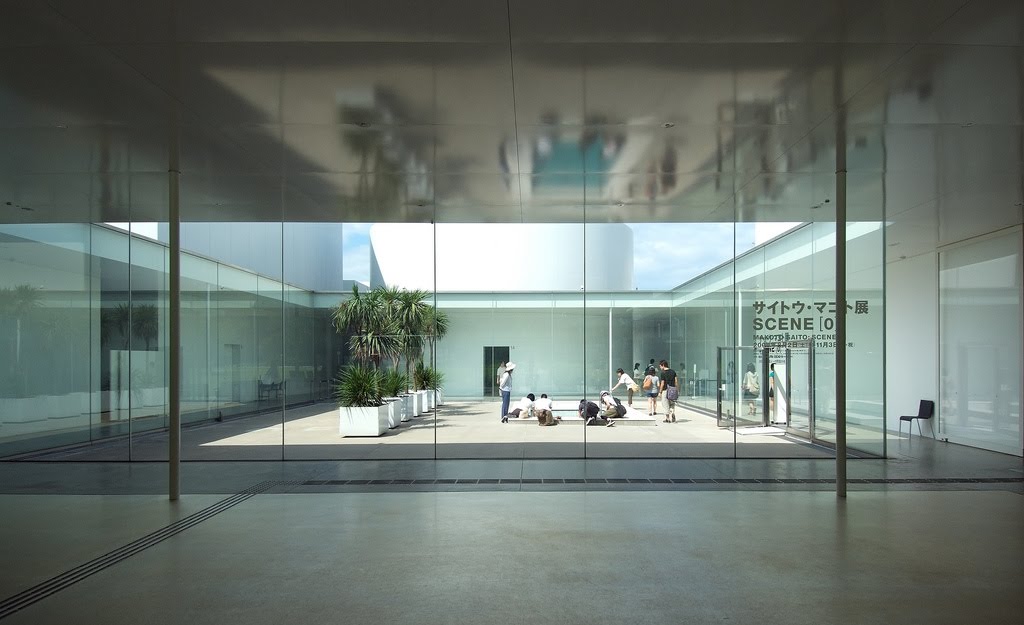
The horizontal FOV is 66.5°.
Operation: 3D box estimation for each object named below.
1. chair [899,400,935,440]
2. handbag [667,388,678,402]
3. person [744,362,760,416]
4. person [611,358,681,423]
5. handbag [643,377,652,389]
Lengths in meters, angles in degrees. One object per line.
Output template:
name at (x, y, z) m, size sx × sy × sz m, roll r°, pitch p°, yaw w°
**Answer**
chair at (10.520, 2.717, 20.421) m, size 0.613 × 1.036 × 0.980 m, roll -2°, pitch 12°, yaw -9°
handbag at (3.524, 1.822, 17.469) m, size 0.270 × 0.323 × 0.482 m, roll -3°, pitch -8°, yaw 32°
person at (5.367, 1.701, 17.501) m, size 0.369 × 1.035 × 0.505 m, roll 2°, pitch 12°, yaw 11°
person at (2.998, 1.697, 17.398) m, size 1.536 × 1.601 × 0.970 m, roll 1°, pitch -12°, yaw 10°
handbag at (2.995, 1.539, 17.323) m, size 0.179 × 0.194 × 0.242 m, roll 2°, pitch 12°, yaw 10°
